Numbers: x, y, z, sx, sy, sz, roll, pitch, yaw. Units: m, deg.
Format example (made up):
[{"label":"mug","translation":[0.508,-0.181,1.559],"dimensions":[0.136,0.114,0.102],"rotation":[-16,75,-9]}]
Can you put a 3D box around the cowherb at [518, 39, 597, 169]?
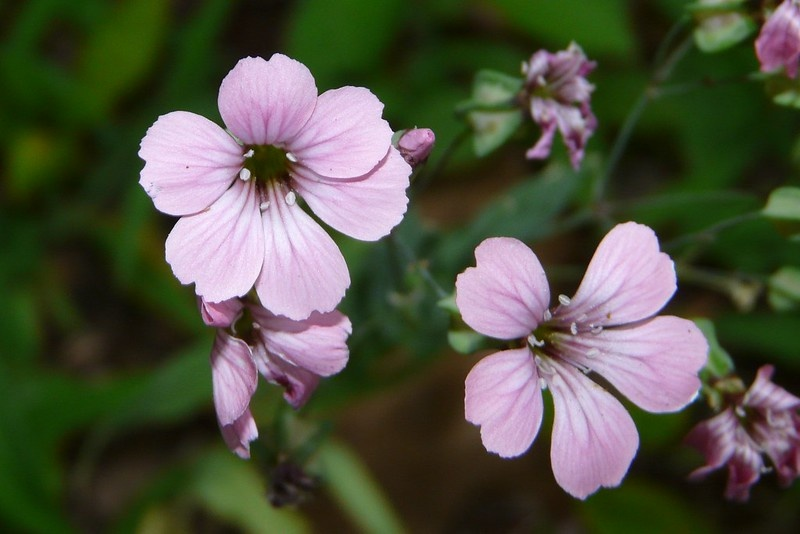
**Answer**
[{"label":"cowherb","translation":[0.479,-0.470,2.396],"dimensions":[0.232,0.359,0.122],"rotation":[-10,14,16]}]

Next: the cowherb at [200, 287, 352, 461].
[{"label":"cowherb","translation":[-0.396,0.260,2.431],"dimensions":[0.444,0.485,0.199],"rotation":[15,14,-37]}]
